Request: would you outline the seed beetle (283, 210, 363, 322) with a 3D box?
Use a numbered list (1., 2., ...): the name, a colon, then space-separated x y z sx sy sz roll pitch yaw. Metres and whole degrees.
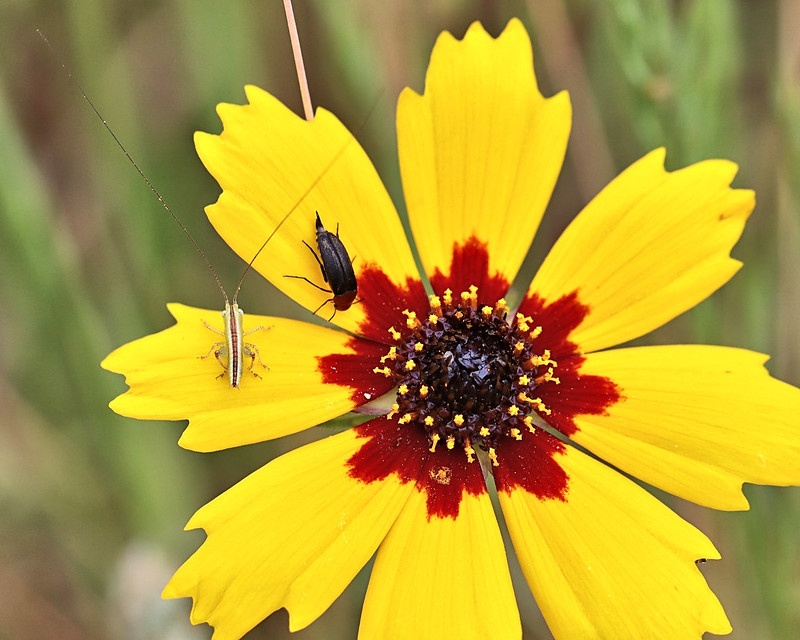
1. seed beetle: -0.180 -0.121 1.828 0.052 0.225 0.181 -4 13 44
